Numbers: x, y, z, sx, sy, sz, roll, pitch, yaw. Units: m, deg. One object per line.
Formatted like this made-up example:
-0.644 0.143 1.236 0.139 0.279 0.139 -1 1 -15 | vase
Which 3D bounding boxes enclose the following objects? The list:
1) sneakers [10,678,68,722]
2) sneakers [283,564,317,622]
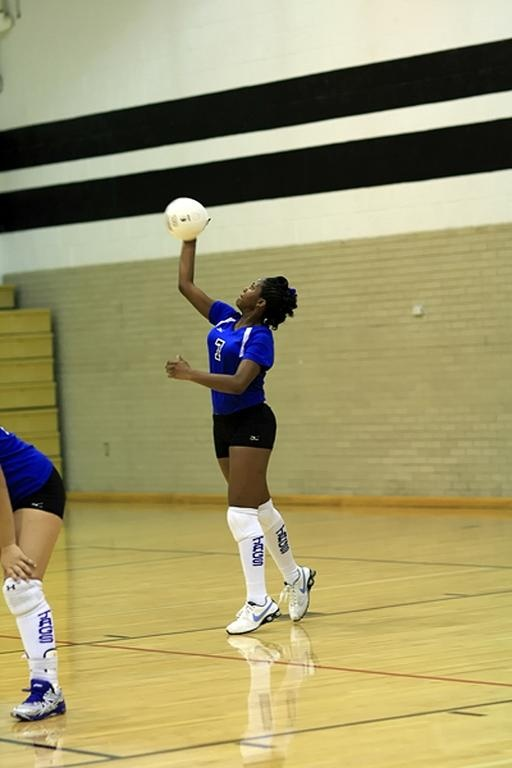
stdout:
-0.548 0.805 1.716 0.186 0.117 0.072 0 -14 -13 | sneakers
0.214 0.990 3.208 0.209 0.235 0.215 1 3 4 | sneakers
